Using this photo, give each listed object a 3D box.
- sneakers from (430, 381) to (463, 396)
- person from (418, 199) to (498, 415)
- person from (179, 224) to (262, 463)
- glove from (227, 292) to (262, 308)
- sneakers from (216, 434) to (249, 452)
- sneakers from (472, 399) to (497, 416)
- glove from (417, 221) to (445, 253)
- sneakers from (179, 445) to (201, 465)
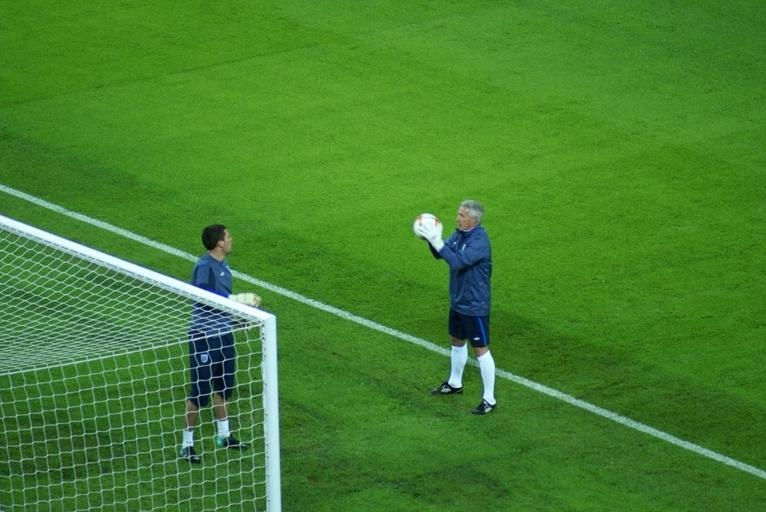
[{"bbox_3d":[0.731,1.549,13.693,0.375,0.151,0.139,2,0,-2],"label":"sneakers"},{"bbox_3d":[0.929,0.583,13.476,0.708,2.428,0.532,3,10,33],"label":"person"},{"bbox_3d":[-1.841,0.957,12.902,0.717,2.581,0.816,1,9,26],"label":"person"},{"bbox_3d":[-1.481,0.431,12.611,0.291,0.118,0.168,14,2,-7],"label":"glove"},{"bbox_3d":[-1.680,2.081,13.027,0.397,0.172,0.135,4,10,-2],"label":"sneakers"},{"bbox_3d":[1.146,1.740,13.493,0.303,0.150,0.118,-3,11,-11],"label":"sneakers"},{"bbox_3d":[0.547,-0.257,13.344,0.240,0.386,0.156,-34,-15,-6],"label":"glove"},{"bbox_3d":[-2.116,2.185,12.929,0.259,0.182,0.137,10,6,22],"label":"sneakers"}]
